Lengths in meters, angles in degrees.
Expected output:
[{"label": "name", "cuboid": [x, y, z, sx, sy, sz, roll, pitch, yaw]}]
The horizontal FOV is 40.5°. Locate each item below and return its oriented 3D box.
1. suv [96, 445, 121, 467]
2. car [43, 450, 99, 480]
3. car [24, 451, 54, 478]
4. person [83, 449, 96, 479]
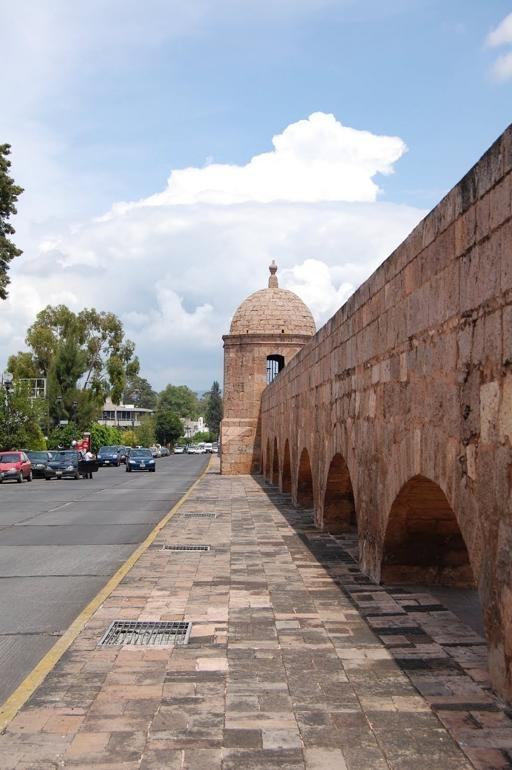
[{"label": "suv", "cuboid": [-10.312, 5.046, 49.017, 0.917, 1.047, 1.860, -1, -12, -3]}, {"label": "car", "cuboid": [-8.543, 3.731, 31.902, 1.583, 1.027, 2.488, 1, 0, 21]}, {"label": "car", "cuboid": [-10.488, 3.761, 33.644, 0.968, 1.000, 1.899, 1, -19, -3]}, {"label": "person", "cuboid": [-8.593, 4.093, 35.870, 0.858, 1.730, 0.361, 2, 4, 43]}]
